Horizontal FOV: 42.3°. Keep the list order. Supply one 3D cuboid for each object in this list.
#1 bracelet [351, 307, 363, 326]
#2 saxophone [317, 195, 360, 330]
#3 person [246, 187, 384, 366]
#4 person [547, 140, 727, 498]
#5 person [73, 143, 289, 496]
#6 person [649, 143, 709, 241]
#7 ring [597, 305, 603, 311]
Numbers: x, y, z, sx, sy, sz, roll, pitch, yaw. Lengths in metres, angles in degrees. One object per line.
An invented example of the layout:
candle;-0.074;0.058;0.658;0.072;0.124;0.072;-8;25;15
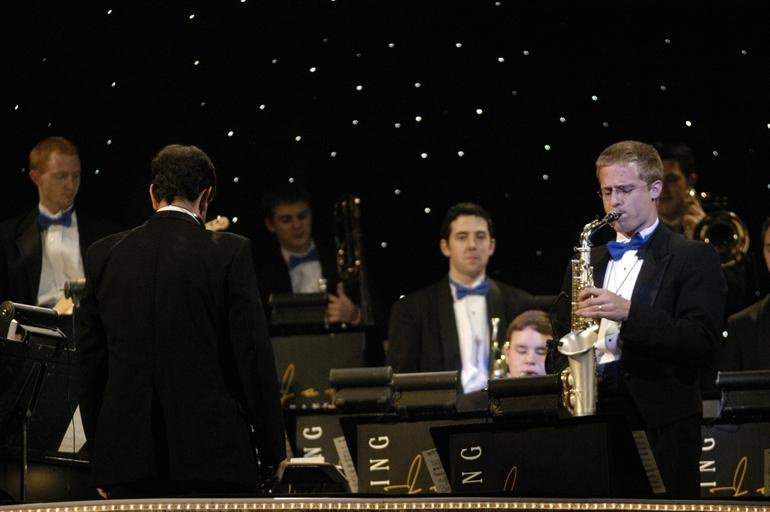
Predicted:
bracelet;-0.180;0.424;6.976;0.088;0.095;0.103;0;-29;0
saxophone;-0.275;0.016;7.034;0.267;0.947;0.162;-1;-6;-3
person;-0.438;0.181;6.802;0.737;1.516;0.487;-22;-3;-7
person;1.424;0.294;5.287;0.755;1.900;0.376;-3;-7;18
person;-1.008;0.307;4.891;1.000;1.707;0.295;-2;-6;9
person;2.000;-0.457;6.807;0.395;0.709;0.342;0;-7;6
ring;1.135;0.269;5.225;0.031;0.028;0.008;-6;-10;20
